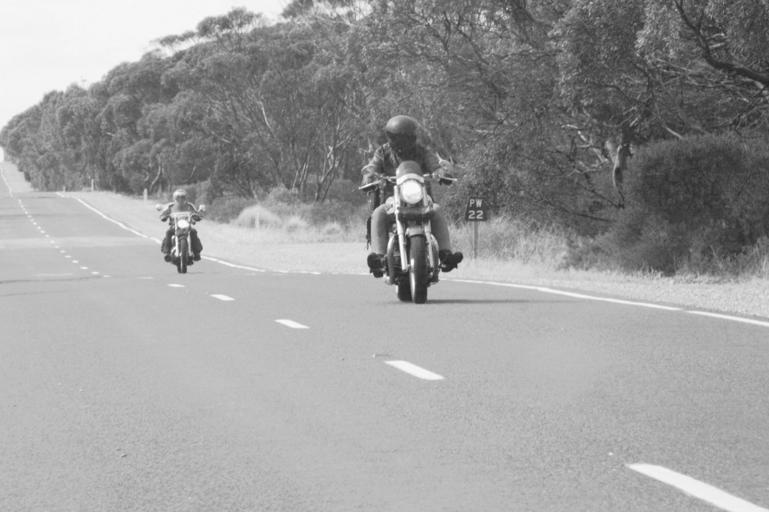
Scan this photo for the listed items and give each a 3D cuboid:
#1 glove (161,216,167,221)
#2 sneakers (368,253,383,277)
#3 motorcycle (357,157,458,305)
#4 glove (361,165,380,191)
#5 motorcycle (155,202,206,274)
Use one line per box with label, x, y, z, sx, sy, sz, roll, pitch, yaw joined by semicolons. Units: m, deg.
glove;-6.082;-1.051;25.719;0.111;0.058;0.156;7;-12;-35
sneakers;-0.165;0.150;15.597;0.213;0.411;0.146;-6;13;-22
motorcycle;0.400;-0.429;15.279;1.144;1.670;2.613;-1;-2;-4
glove;-0.260;-1.360;15.567;0.284;0.457;0.135;4;14;-30
motorcycle;-5.663;-0.647;25.950;0.884;1.606;2.657;0;14;-16
